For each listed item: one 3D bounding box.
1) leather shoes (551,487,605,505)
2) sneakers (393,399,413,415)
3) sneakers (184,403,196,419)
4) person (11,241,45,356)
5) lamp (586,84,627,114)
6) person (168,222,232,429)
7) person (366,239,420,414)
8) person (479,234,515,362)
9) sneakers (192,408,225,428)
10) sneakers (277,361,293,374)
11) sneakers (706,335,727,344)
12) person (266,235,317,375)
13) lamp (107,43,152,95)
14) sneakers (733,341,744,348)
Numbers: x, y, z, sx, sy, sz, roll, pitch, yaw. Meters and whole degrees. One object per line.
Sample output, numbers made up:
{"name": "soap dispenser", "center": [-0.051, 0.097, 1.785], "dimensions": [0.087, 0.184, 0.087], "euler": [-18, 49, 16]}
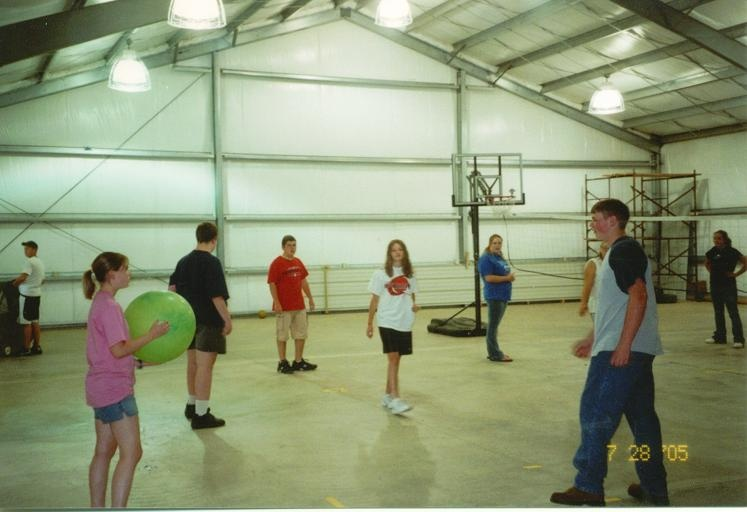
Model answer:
{"name": "leather shoes", "center": [2.255, 2.664, 7.672], "dimensions": [0.570, 0.236, 0.211], "euler": [2, -8, 13]}
{"name": "sneakers", "center": [0.402, 2.075, 9.663], "dimensions": [0.293, 0.188, 0.212], "euler": [-3, 14, -7]}
{"name": "sneakers", "center": [-2.543, 2.154, 9.620], "dimensions": [0.143, 0.153, 0.237], "euler": [0, -10, -4]}
{"name": "person", "center": [-6.617, 0.858, 13.409], "dimensions": [0.496, 2.175, 0.944], "euler": [-5, 15, -13]}
{"name": "lamp", "center": [5.072, -3.424, 15.291], "dimensions": [0.846, 0.563, 0.800], "euler": [-2, -2, -6]}
{"name": "person", "center": [-2.291, 0.929, 9.337], "dimensions": [0.743, 2.703, 0.777], "euler": [-6, 15, -17]}
{"name": "person", "center": [0.267, 1.009, 9.747], "dimensions": [0.694, 2.335, 0.913], "euler": [-1, 15, 2]}
{"name": "person", "center": [2.134, 0.763, 12.160], "dimensions": [0.580, 2.290, 0.991], "euler": [0, 15, 7]}
{"name": "sneakers", "center": [-2.232, 2.203, 9.454], "dimensions": [0.490, 0.244, 0.199], "euler": [-1, -2, -13]}
{"name": "sneakers", "center": [-1.461, 1.848, 11.599], "dimensions": [0.279, 0.174, 0.167], "euler": [-7, -7, 43]}
{"name": "sneakers", "center": [6.501, 1.604, 13.186], "dimensions": [0.297, 0.122, 0.134], "euler": [-5, -5, 43]}
{"name": "person", "center": [-1.358, 0.839, 11.659], "dimensions": [0.710, 2.350, 0.916], "euler": [-4, 15, -8]}
{"name": "lamp", "center": [-4.481, -3.498, 12.792], "dimensions": [0.804, 0.789, 0.776], "euler": [-10, 18, -37]}
{"name": "sneakers", "center": [6.699, 1.630, 12.700], "dimensions": [0.078, 0.081, 0.213], "euler": [2, 3, 10]}
